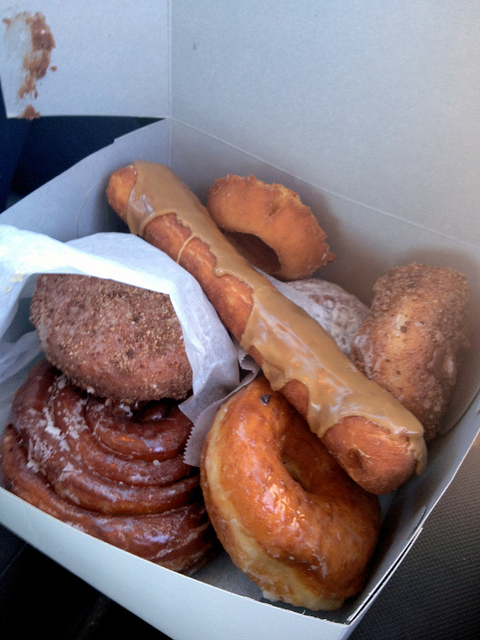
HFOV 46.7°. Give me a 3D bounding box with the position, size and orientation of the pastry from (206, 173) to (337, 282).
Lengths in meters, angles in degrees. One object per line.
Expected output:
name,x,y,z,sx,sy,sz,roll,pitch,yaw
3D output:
pastry,0.036,-0.117,0.725,0.146,0.156,0.059,36,80,3

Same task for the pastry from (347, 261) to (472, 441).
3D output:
pastry,0.178,0.026,0.652,0.126,0.195,0.111,15,26,27

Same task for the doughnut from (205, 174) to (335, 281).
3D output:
doughnut,0.035,-0.113,0.683,0.147,0.154,0.059,33,76,10

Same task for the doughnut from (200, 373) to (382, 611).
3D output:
doughnut,0.044,0.178,0.616,0.235,0.093,0.257,46,20,14

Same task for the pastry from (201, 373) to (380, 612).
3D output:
pastry,0.048,0.181,0.573,0.219,0.136,0.152,38,50,24
